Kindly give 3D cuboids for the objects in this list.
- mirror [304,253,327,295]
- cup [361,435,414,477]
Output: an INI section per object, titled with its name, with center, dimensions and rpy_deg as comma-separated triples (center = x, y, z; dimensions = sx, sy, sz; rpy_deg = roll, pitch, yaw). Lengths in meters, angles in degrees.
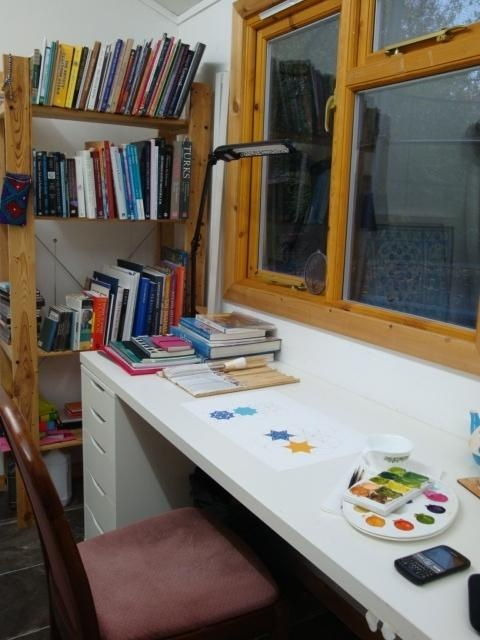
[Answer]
[mirror]
center = 0.275, -0.167, 1.822
dimensions = 0.013, 0.163, 0.128
rpy_deg = 4, 14, -31
[cup]
center = 0.286, 0.263, 0.985
dimensions = 0.095, 0.050, 0.121
rpy_deg = 5, 7, 19
